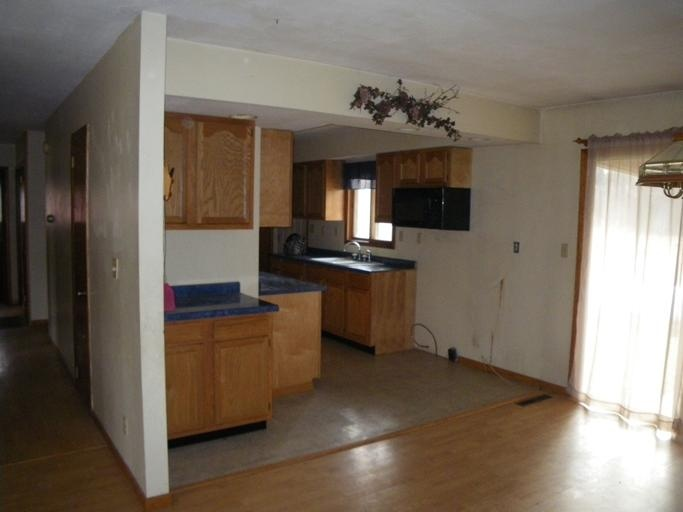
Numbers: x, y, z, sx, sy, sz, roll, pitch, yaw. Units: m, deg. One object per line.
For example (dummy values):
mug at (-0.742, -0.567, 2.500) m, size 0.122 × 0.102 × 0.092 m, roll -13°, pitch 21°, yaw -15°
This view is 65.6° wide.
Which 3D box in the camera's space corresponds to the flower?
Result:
flower at (0.572, -1.240, 4.470) m, size 0.715 × 0.260 × 0.483 m, roll -8°, pitch 48°, yaw -25°
